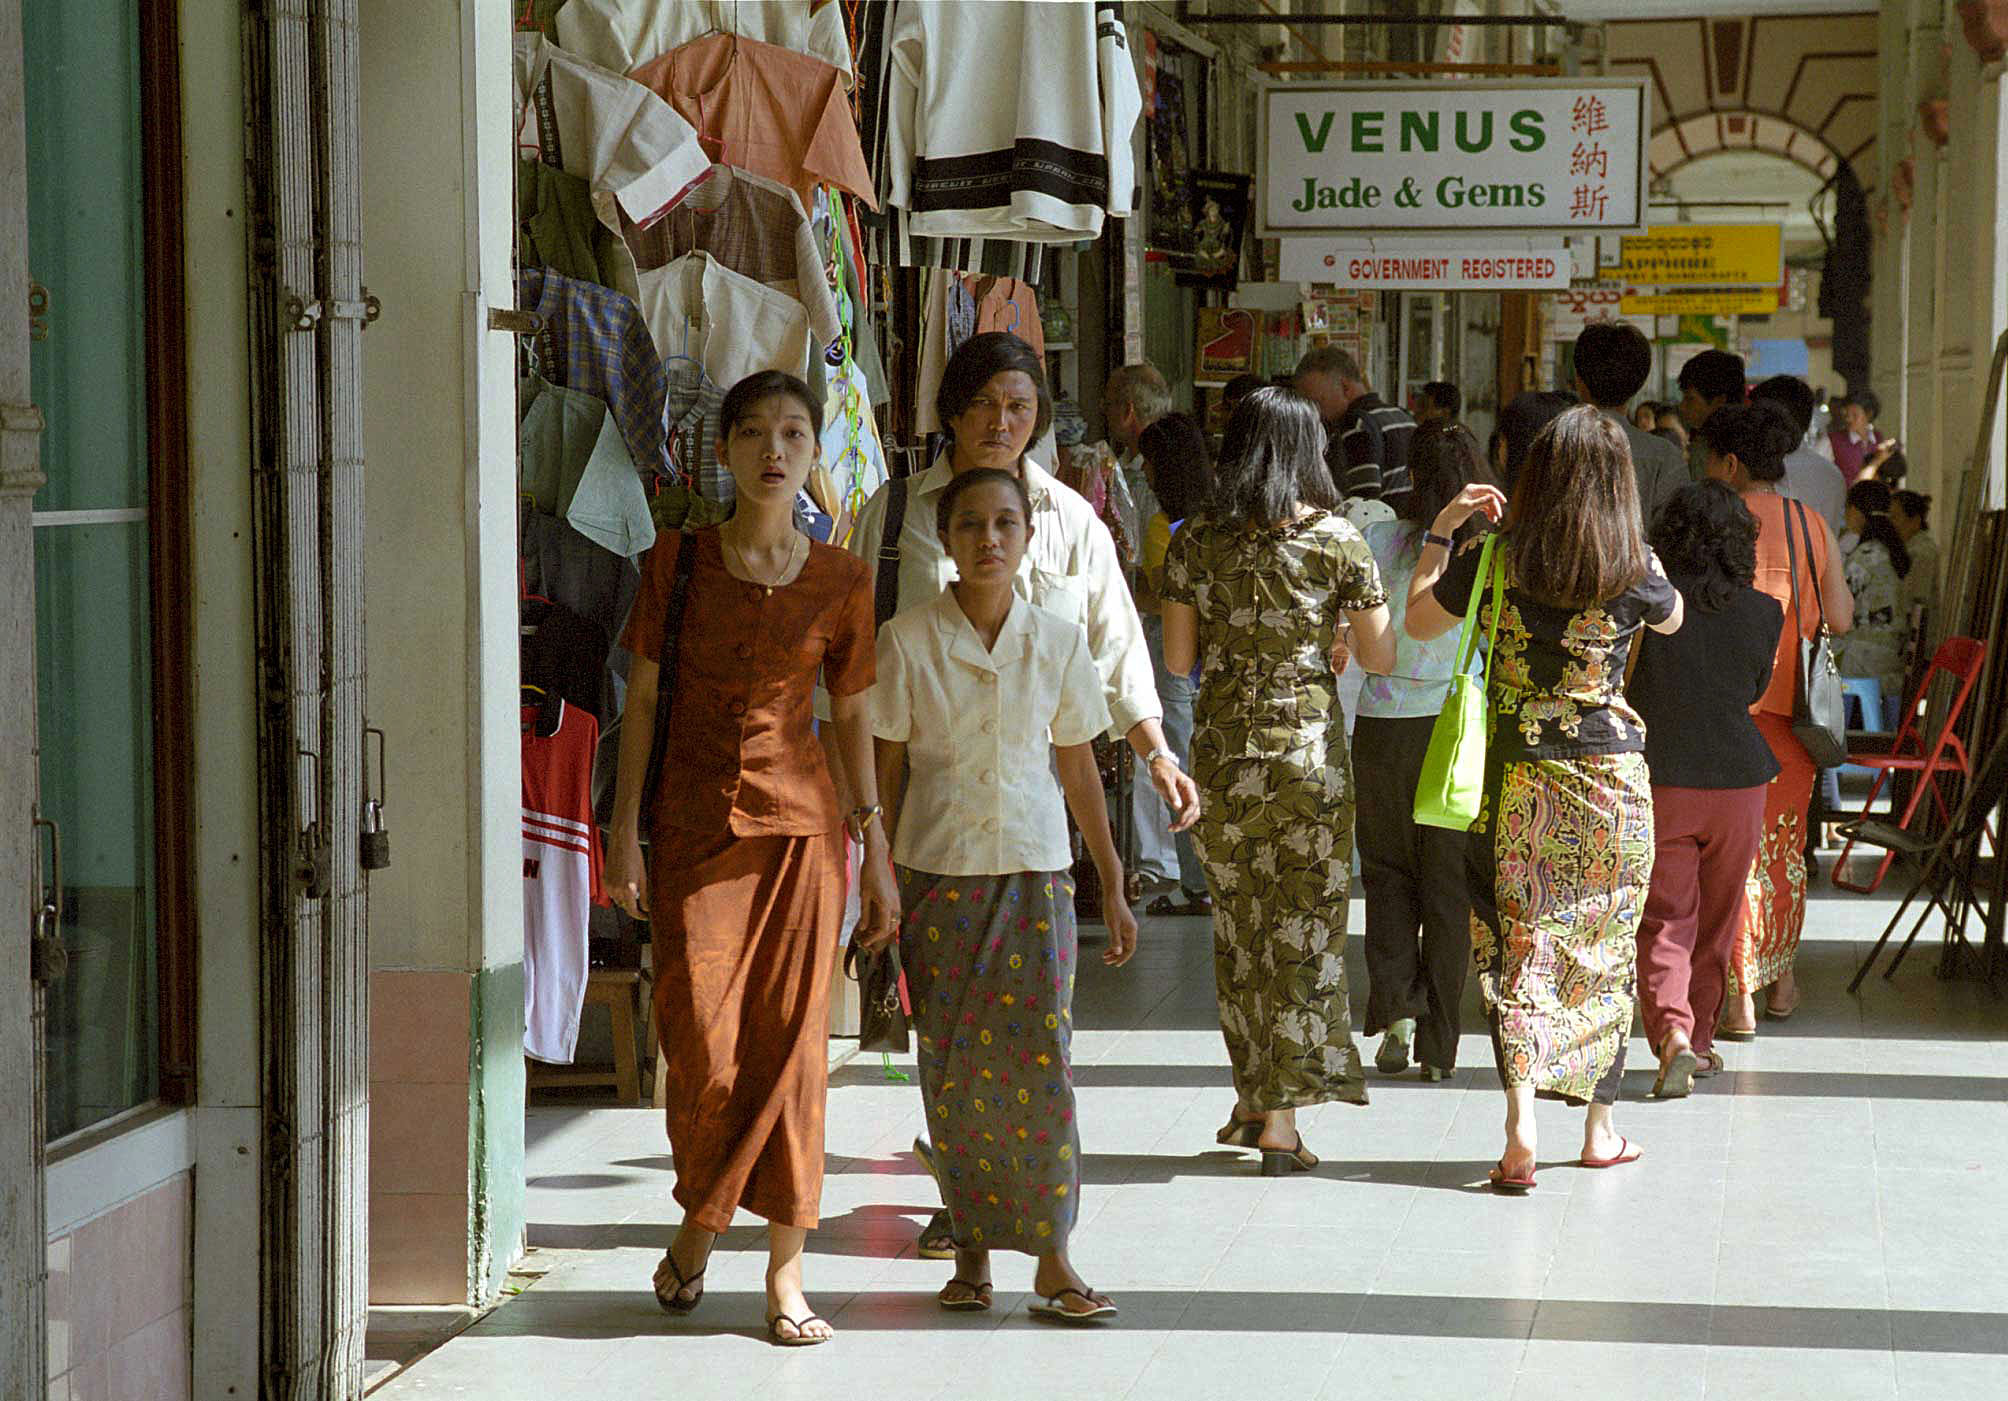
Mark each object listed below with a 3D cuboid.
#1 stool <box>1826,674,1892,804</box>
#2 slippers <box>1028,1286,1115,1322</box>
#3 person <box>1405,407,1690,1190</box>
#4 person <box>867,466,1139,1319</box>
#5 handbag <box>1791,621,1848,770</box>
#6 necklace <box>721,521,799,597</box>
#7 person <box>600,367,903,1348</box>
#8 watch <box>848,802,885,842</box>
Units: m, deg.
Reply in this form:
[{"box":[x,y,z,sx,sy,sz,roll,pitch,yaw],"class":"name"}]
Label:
[{"box":[5.314,0.212,14.740,0.424,0.690,0.441,7,-5,-43],"class":"stool"},{"box":[0.159,1.460,5.764,0.149,0.054,0.095,-1,0,18],"class":"slippers"},{"box":[1.566,0.253,6.992,0.606,2.230,0.669,-3,6,-29],"class":"person"},{"box":[-0.031,0.478,5.768,0.571,2.064,0.308,-1,5,-5],"class":"person"},{"box":[2.997,0.007,8.680,0.162,0.480,0.330,2,6,19],"class":"handbag"},{"box":[-0.576,-0.341,5.616,0.156,0.168,0.041,-7,-3,-15],"class":"necklace"},{"box":[-0.601,0.233,5.610,0.667,1.993,0.325,-1,5,-12],"class":"person"},{"box":[-0.333,0.307,5.700,0.072,0.092,0.068,5,26,-15],"class":"watch"}]
